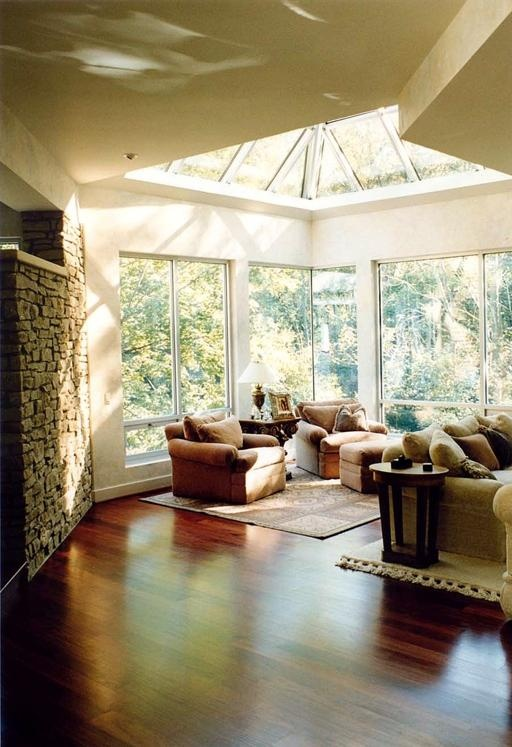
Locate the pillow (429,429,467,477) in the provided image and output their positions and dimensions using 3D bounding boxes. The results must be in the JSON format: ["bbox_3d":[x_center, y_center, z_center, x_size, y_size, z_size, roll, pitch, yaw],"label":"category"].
[{"bbox_3d":[1.438,0.451,4.177,0.206,0.358,0.557,-4,9,15],"label":"pillow"}]

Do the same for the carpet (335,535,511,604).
[{"bbox_3d":[1.176,1.323,3.769,1.086,0.071,0.634,-4,-3,41],"label":"carpet"}]

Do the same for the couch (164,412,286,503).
[{"bbox_3d":[-0.297,0.891,6.241,1.090,0.870,1.144,-2,-1,39],"label":"couch"}]

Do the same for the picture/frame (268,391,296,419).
[{"bbox_3d":[0.313,0.403,7.004,0.327,0.322,0.056,5,-23,-45],"label":"picture/frame"}]

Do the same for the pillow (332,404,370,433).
[{"bbox_3d":[1.233,0.580,7.153,0.464,0.337,0.351,-2,-2,-11],"label":"pillow"}]

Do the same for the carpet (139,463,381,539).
[{"bbox_3d":[0.387,1.353,5.761,2.019,0.139,1.750,-4,-3,39],"label":"carpet"}]

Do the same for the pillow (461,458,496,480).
[{"bbox_3d":[1.604,0.691,4.010,0.235,0.132,0.173,-2,-2,-10],"label":"pillow"}]

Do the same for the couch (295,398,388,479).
[{"bbox_3d":[1.081,0.793,7.236,1.171,1.004,0.915,-1,0,-28],"label":"couch"}]
